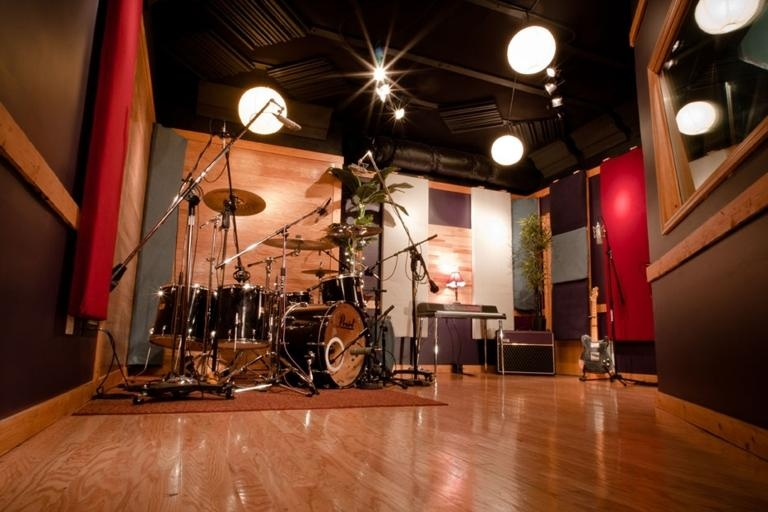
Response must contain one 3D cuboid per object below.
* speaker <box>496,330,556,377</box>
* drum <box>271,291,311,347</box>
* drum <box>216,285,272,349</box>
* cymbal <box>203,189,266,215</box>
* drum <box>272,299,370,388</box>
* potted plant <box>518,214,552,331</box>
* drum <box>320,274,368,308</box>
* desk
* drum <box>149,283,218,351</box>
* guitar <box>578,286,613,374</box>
[{"bbox_3d":[2.118,1.292,7.658,0.830,0.789,0.506,-2,11,33],"label":"speaker"},{"bbox_3d":[-0.930,0.511,5.223,0.314,0.323,0.324,-5,-6,44],"label":"drum"},{"bbox_3d":[-1.354,0.519,4.683,0.493,0.532,0.502,0,-2,25],"label":"drum"},{"bbox_3d":[-1.355,-0.455,4.841,0.377,0.089,0.389,7,-34,-21],"label":"cymbal"},{"bbox_3d":[-0.541,0.859,5.163,0.734,0.950,0.908,-6,-15,35],"label":"drum"},{"bbox_3d":[2.356,0.116,8.294,0.449,1.560,0.392,0,-3,15],"label":"potted plant"},{"bbox_3d":[-0.400,0.353,5.400,0.349,0.267,0.365,-10,-26,-5],"label":"drum"},{"bbox_3d":[1.054,1.036,7.091,1.016,0.754,0.587,4,-6,-14],"label":"desk"},{"bbox_3d":[-1.656,0.434,4.499,0.428,0.424,0.429,0,-4,-24],"label":"drum"},{"bbox_3d":[2.744,0.984,6.862,0.388,1.189,0.839,0,-3,23],"label":"guitar"}]
